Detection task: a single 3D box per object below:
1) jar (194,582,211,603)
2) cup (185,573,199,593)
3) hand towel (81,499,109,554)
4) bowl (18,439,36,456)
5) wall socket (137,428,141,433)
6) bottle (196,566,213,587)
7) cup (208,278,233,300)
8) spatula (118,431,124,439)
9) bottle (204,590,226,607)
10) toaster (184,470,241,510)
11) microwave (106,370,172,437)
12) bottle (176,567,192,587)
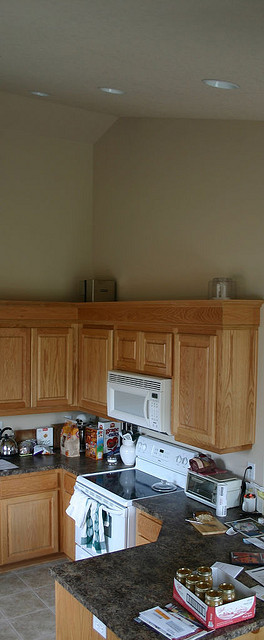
[{"bbox_3d":[0.250,0.964,1.481,0.040,0.052,0.046,1,3,17],"label":"jar"},{"bbox_3d":[0.224,0.965,1.535,0.038,0.048,0.040,0,-1,0],"label":"cup"},{"bbox_3d":[-0.291,1.501,2.992,0.114,0.406,0.345,3,-5,-39],"label":"hand towel"},{"bbox_3d":[-1.050,1.254,4.115,0.172,0.130,0.248,1,-5,-16],"label":"bowl"},{"bbox_3d":[0.063,1.001,3.785,0.023,0.051,0.044,-2,5,-26],"label":"wall socket"},{"bbox_3d":[0.277,0.957,1.587,0.048,0.100,0.053,-2,0,0],"label":"bottle"},{"bbox_3d":[0.583,-0.206,2.713,0.123,0.145,0.136,-2,5,-34],"label":"cup"},{"bbox_3d":[-0.100,1.098,3.967,0.019,0.059,0.033,-19,-11,11],"label":"spatula"},{"bbox_3d":[0.288,0.965,1.439,0.043,0.055,0.051,-1,-2,-6],"label":"bottle"},{"bbox_3d":[0.548,1.025,2.678,0.176,0.212,0.274,3,-4,-27],"label":"toaster"},{"bbox_3d":[0.053,0.611,3.250,0.593,0.384,0.193,2,0,43],"label":"microwave"},{"bbox_3d":[0.195,1.002,1.625,0.039,0.057,0.045,1,6,11],"label":"bottle"}]
